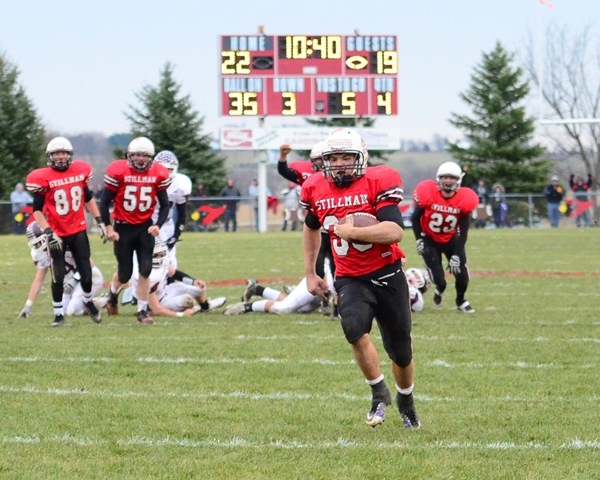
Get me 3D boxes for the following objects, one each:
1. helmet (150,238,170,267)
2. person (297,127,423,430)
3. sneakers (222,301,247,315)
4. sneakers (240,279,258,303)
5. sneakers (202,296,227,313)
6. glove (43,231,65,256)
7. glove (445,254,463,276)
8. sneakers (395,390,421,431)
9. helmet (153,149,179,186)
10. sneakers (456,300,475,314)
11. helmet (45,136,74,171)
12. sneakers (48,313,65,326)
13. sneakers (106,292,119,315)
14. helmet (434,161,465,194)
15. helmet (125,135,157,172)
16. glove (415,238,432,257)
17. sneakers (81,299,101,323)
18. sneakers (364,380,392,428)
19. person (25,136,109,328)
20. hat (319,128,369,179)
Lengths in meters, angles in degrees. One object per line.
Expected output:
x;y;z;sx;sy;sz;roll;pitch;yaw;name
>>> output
-1.569;0.158;10.995;0.208;0.235;0.263;0;-6;-6;helmet
0.416;0.285;7.456;0.614;2.187;0.916;-5;10;-31;person
-0.784;0.777;11.237;0.204;0.084;0.134;-11;0;31;sneakers
-0.643;0.619;11.362;0.155;0.338;0.123;7;15;-1;sneakers
-1.020;0.738;11.432;0.309;0.149;0.115;-19;16;10;sneakers
-2.556;0.041;10.384;0.153;0.204;0.112;-31;26;15;glove
1.631;0.294;11.200;0.154;0.212;0.064;-1;4;-2;glove
0.739;1.292;7.410;0.091;0.257;0.244;-11;4;3;sneakers
-1.522;-0.846;11.187;0.289;0.371;0.379;1;-2;-1;helmet
1.791;0.788;11.468;0.112;0.096;0.191;-3;2;-32;sneakers
-2.517;-0.903;10.421;0.241;0.345;0.254;-2;9;-14;helmet
-2.618;0.874;10.715;0.101;0.133;0.299;2;-7;-10;sneakers
-2.117;0.728;11.180;0.085;0.357;0.195;5;19;0;sneakers
1.583;-0.682;11.222;0.266;0.370;0.316;2;9;7;helmet
-1.687;-0.898;10.379;0.273;0.340;0.276;-1;9;-11;helmet
1.317;0.087;11.420;0.144;0.175;0.186;0;-23;0;glove
-2.245;0.770;10.850;0.147;0.273;0.119;-29;-6;36;sneakers
0.520;1.193;7.240;0.159;0.328;0.225;1;9;6;sneakers
-2.490;-0.074;10.599;0.751;2.037;0.641;-2;9;-14;person
0.290;-0.635;7.392;0.282;0.362;0.398;-3;-1;12;hat
